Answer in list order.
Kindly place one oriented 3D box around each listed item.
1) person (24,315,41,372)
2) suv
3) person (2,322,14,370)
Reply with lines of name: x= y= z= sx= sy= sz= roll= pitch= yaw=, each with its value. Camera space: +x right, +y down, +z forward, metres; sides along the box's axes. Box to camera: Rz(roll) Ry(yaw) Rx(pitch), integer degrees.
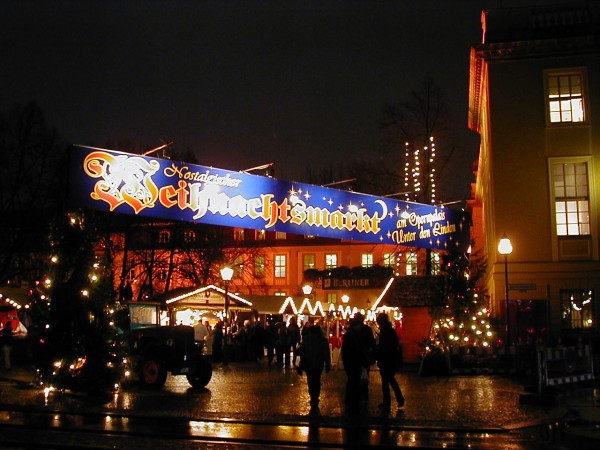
person: x=-7.940 y=3.583 z=21.185 sx=0.404 sy=1.677 sz=1.016 roll=0 pitch=2 yaw=-23
suv: x=-5.391 y=4.037 z=23.956 sx=4.391 sy=2.819 sz=2.512 roll=-5 pitch=-10 yaw=31
person: x=-11.984 y=4.973 z=29.078 sx=0.425 sy=1.954 sz=0.846 roll=-1 pitch=2 yaw=-24
